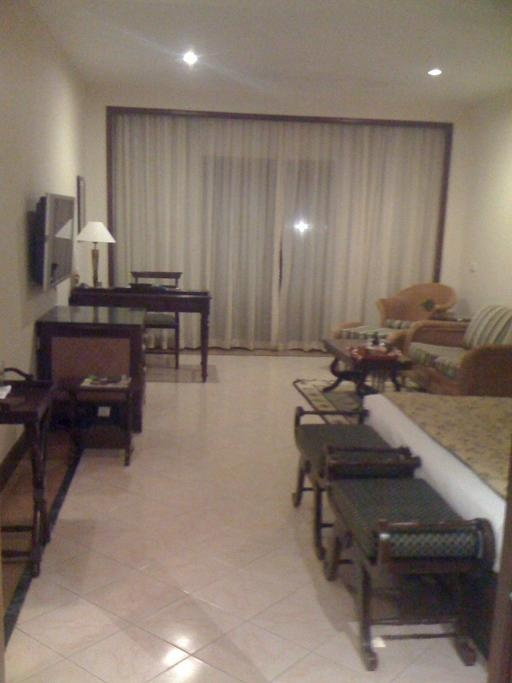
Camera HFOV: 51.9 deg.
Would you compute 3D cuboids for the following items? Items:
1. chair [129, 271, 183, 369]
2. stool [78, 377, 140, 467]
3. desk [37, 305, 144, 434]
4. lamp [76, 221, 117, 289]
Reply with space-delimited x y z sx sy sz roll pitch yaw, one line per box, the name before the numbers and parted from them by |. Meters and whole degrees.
chair | -1.066 -0.252 5.743 0.685 1.083 0.717 0 2 12
stool | -0.961 0.499 3.298 0.420 0.529 0.466 -2 -9 13
desk | -1.146 0.275 3.730 0.785 0.845 0.833 1 15 -4
lamp | -1.627 -0.884 5.350 0.368 0.666 0.369 -1 7 -18
